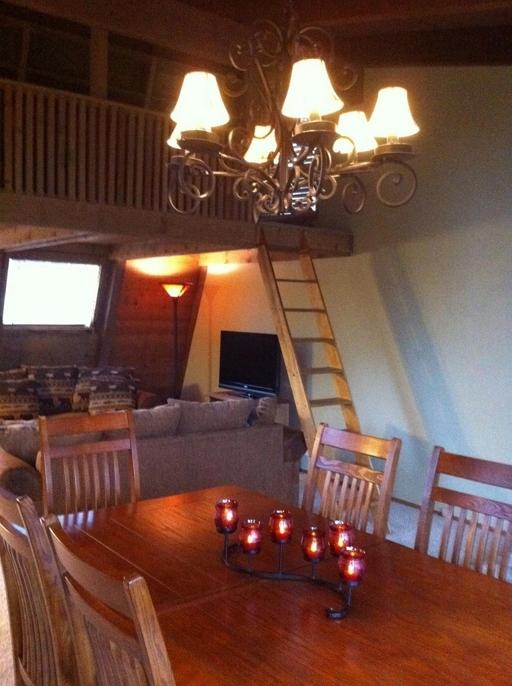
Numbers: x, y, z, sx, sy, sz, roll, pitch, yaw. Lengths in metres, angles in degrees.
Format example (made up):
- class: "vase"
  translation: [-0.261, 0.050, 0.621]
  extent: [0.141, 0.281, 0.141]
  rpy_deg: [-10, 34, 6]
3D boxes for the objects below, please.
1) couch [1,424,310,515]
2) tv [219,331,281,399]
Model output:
- class: "couch"
  translation: [-0.569, 0.639, 2.867]
  extent: [0.842, 0.313, 0.251]
  rpy_deg: [-3, 14, -35]
- class: "tv"
  translation: [-0.040, 0.241, 6.199]
  extent: [0.184, 0.544, 0.789]
  rpy_deg: [0, 2, -33]
